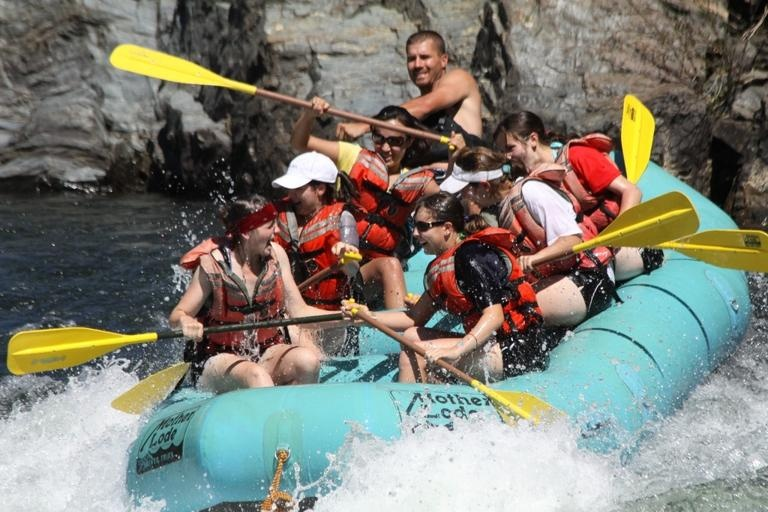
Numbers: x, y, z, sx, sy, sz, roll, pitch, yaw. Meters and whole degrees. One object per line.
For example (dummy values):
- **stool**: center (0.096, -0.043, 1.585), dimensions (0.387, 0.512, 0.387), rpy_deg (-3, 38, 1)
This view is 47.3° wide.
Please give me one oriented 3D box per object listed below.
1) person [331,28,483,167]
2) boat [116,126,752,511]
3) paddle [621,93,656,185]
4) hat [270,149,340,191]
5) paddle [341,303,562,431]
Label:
- **person**: center (-0.061, -1.573, 8.867), dimensions (1.601, 1.666, 1.007), rpy_deg (-1, 2, -23)
- **boat**: center (0.736, 0.932, 6.735), dimensions (3.880, 1.046, 2.638), rpy_deg (-35, 35, -32)
- **paddle**: center (2.343, -1.167, 8.292), dimensions (0.304, 0.115, 1.073), rpy_deg (9, 67, 1)
- **hat**: center (-0.672, -0.731, 7.417), dimensions (0.442, 0.276, 0.297), rpy_deg (0, 14, -17)
- **paddle**: center (0.490, 0.775, 6.581), dimensions (1.699, 0.584, 0.275), rpy_deg (14, 28, 26)
